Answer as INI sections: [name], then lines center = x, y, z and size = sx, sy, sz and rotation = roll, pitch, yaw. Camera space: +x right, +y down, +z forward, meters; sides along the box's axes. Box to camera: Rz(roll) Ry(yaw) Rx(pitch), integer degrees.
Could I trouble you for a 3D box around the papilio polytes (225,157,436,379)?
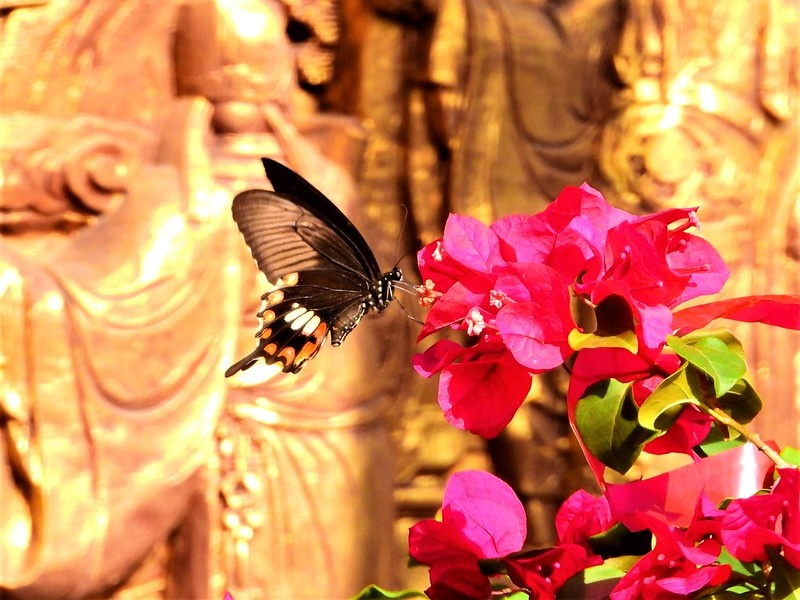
[papilio polytes]
center = -0.229, -0.062, 3.487
size = 0.433, 0.520, 0.158
rotation = -13, 33, -6
